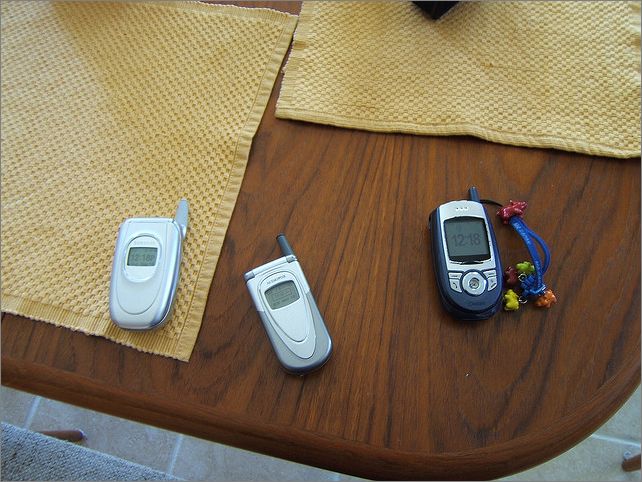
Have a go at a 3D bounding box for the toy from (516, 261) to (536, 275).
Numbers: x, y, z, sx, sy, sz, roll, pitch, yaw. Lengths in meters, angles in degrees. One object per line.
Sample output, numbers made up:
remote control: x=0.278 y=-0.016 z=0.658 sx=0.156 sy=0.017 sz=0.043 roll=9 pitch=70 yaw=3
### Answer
toy: x=0.294 y=0.039 z=0.741 sx=0.017 sy=0.008 sz=0.018 roll=8 pitch=74 yaw=2

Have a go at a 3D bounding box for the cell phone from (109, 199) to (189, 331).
cell phone: x=-0.250 y=0.039 z=0.731 sx=0.081 sy=0.046 sz=0.169 roll=1 pitch=72 yaw=0

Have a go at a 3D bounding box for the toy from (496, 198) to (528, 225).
toy: x=0.288 y=-0.038 z=0.786 sx=0.040 sy=0.026 sz=0.028 roll=-19 pitch=64 yaw=12

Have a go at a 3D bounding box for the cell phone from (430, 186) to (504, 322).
cell phone: x=0.213 y=0.017 z=0.766 sx=0.094 sy=0.040 sz=0.216 roll=1 pitch=60 yaw=4

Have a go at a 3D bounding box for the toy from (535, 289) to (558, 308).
toy: x=0.317 y=0.082 z=0.737 sx=0.025 sy=0.017 sz=0.024 roll=-22 pitch=91 yaw=10

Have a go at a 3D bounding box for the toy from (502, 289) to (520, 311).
toy: x=0.270 y=0.084 z=0.730 sx=0.019 sy=0.011 sz=0.029 roll=2 pitch=82 yaw=0
